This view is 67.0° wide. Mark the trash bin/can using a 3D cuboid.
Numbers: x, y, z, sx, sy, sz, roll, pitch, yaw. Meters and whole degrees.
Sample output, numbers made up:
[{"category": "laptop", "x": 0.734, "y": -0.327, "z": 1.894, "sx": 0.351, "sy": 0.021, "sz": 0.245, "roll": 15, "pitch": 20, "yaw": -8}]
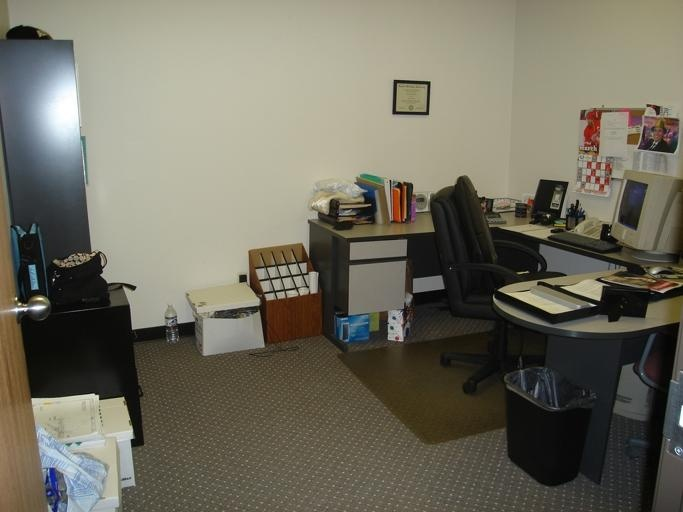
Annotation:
[{"category": "trash bin/can", "x": 1.081, "y": 0.856, "z": 2.608, "sx": 0.325, "sy": 0.470, "sz": 0.466, "roll": -9, "pitch": 18, "yaw": -22}]

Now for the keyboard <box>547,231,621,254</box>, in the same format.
[{"category": "keyboard", "x": 1.688, "y": -0.095, "z": 3.585, "sx": 0.165, "sy": 0.042, "sz": 0.304, "roll": -8, "pitch": 19, "yaw": -20}]

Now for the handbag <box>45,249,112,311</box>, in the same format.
[{"category": "handbag", "x": -1.418, "y": 0.113, "z": 2.793, "sx": 0.162, "sy": 0.282, "sz": 0.283, "roll": 33, "pitch": 33, "yaw": 23}]

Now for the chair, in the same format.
[{"category": "chair", "x": 1.081, "y": 0.178, "z": 3.456, "sx": 0.795, "sy": 1.296, "sz": 0.792, "roll": 0, "pitch": 13, "yaw": 17}]

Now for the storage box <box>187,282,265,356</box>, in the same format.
[{"category": "storage box", "x": -0.872, "y": 0.517, "z": 4.083, "sx": 0.515, "sy": 0.373, "sz": 0.517, "roll": -6, "pitch": 5, "yaw": -25}]

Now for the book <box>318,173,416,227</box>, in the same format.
[{"category": "book", "x": 0.185, "y": -0.437, "z": 4.178, "sx": 0.520, "sy": 0.242, "sz": 0.523, "roll": -5, "pitch": 18, "yaw": -24}]

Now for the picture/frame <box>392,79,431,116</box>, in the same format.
[{"category": "picture/frame", "x": 0.599, "y": -1.376, "z": 4.477, "sx": 0.308, "sy": 0.265, "sz": 0.025, "roll": -3, "pitch": 16, "yaw": -21}]

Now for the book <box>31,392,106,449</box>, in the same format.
[{"category": "book", "x": -1.152, "y": 0.703, "z": 2.201, "sx": 0.306, "sy": 0.074, "sz": 0.290, "roll": -3, "pitch": 14, "yaw": -33}]

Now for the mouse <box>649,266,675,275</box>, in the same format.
[{"category": "mouse", "x": 1.842, "y": 0.083, "z": 2.976, "sx": 0.089, "sy": 0.025, "sz": 0.075, "roll": -2, "pitch": 16, "yaw": 2}]

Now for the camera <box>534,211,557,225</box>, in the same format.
[{"category": "camera", "x": 1.674, "y": -0.309, "z": 4.298, "sx": 0.105, "sy": 0.064, "sz": 0.148, "roll": 0, "pitch": 11, "yaw": 0}]

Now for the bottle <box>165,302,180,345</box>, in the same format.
[{"category": "bottle", "x": -1.322, "y": 0.528, "z": 4.057, "sx": 0.108, "sy": 0.281, "sz": 0.140, "roll": -7, "pitch": 15, "yaw": -21}]

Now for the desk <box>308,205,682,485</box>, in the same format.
[{"category": "desk", "x": 0.766, "y": 0.261, "z": 3.168, "sx": 1.589, "sy": 0.903, "sz": 1.681, "roll": -7, "pitch": 20, "yaw": -21}]
